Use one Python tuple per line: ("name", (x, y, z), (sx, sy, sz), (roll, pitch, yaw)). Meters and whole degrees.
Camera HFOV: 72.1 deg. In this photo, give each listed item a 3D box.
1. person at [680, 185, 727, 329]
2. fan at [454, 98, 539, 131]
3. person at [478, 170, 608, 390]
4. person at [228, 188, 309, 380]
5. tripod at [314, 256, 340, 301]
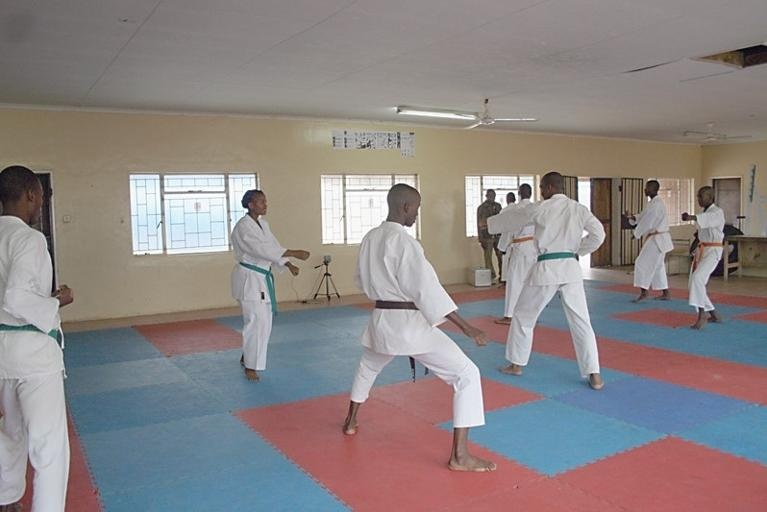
("person", (4.877, -0.014, 7.992), (0.526, 2.052, 1.384), (4, 11, 33))
("fan", (2.110, -2.781, 10.636), (0.936, 0.289, 0.931), (8, 10, 34))
("person", (1.806, 0.224, 5.907), (1.394, 2.241, 0.666), (1, 5, 20))
("person", (-1.379, 0.326, 6.043), (0.721, 2.147, 0.863), (-4, 10, -16))
("tripod", (-1.191, 0.421, 10.814), (0.646, 0.903, 0.564), (-5, 9, -19))
